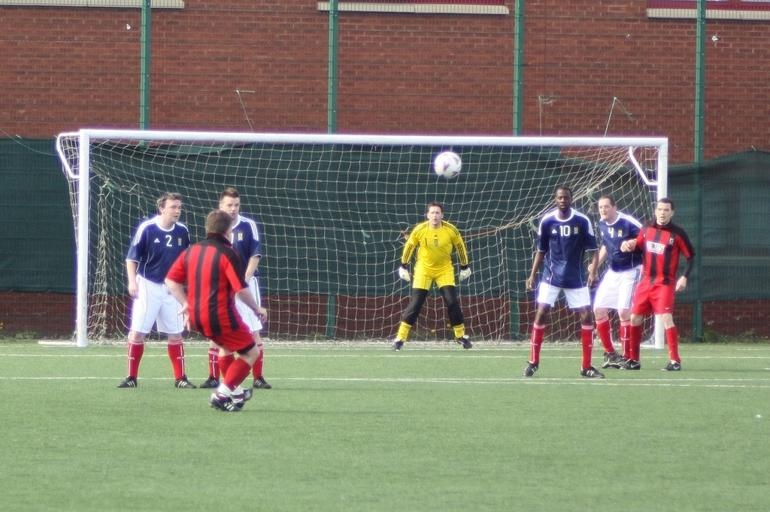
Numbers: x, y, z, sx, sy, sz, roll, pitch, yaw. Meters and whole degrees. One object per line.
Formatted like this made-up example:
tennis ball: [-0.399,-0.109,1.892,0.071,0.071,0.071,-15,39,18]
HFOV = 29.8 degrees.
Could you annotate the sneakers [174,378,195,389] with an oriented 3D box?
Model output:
sneakers: [-2.821,1.783,20.213,0.252,0.103,0.128,-3,-2,12]

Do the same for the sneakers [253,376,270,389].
sneakers: [-1.780,1.782,20.247,0.309,0.131,0.107,-9,-10,42]

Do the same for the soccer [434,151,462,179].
soccer: [0.988,-1.533,23.686,0.397,0.430,0.358,2,-4,-5]

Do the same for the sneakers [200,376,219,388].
sneakers: [-2.512,1.771,20.264,0.320,0.132,0.111,1,1,2]

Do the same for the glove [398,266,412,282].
glove: [0.316,0.277,23.843,0.121,0.255,0.192,-25,-7,-36]

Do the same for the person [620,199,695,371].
person: [4.031,0.407,21.587,1.023,2.567,0.793,-1,-4,26]

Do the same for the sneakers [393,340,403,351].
sneakers: [0.190,1.467,23.817,0.164,0.147,0.213,-6,-20,0]

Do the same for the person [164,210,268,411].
person: [-2.189,0.707,18.711,1.213,2.595,0.651,2,-4,-7]

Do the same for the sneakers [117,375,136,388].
sneakers: [-3.572,1.759,20.082,0.322,0.132,0.109,1,-1,6]

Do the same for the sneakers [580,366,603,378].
sneakers: [2.978,1.705,21.049,0.349,0.145,0.124,0,-1,0]
